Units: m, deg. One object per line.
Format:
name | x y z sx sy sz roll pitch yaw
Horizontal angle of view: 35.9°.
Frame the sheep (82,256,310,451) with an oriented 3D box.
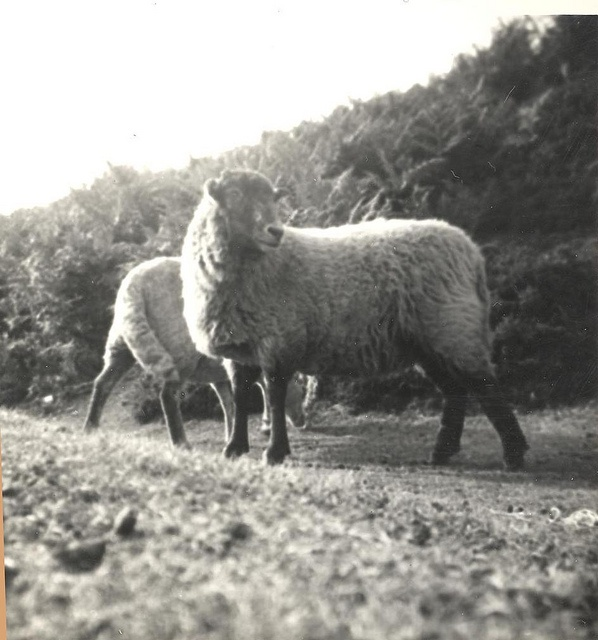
sheep | -0.503 0.129 5.741 0.477 1.102 1.632 -22 -4 23
